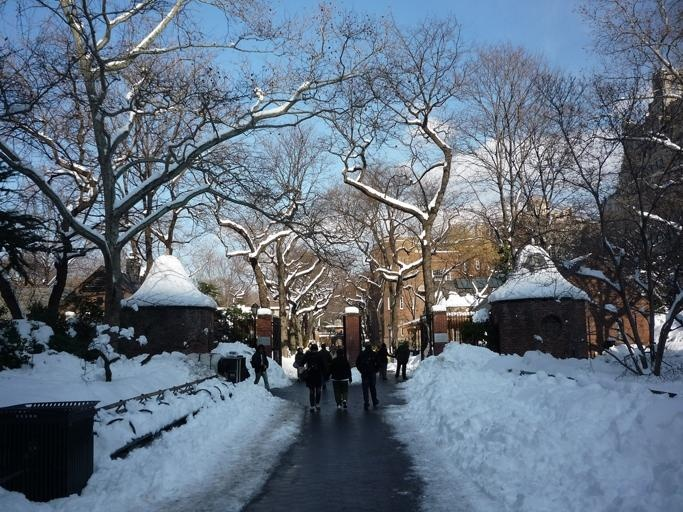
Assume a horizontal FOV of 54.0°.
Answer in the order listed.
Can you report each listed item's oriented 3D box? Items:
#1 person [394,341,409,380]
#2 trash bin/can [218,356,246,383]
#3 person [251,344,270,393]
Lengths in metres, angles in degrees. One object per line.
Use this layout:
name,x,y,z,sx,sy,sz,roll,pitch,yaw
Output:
person,2.744,4.602,30.345,0.569,1.911,0.519,2,26,1
trash bin/can,-4.073,4.266,25.344,0.750,1.182,1.099,-4,-6,20
person,-2.979,4.104,24.731,0.720,1.847,0.700,5,17,14
